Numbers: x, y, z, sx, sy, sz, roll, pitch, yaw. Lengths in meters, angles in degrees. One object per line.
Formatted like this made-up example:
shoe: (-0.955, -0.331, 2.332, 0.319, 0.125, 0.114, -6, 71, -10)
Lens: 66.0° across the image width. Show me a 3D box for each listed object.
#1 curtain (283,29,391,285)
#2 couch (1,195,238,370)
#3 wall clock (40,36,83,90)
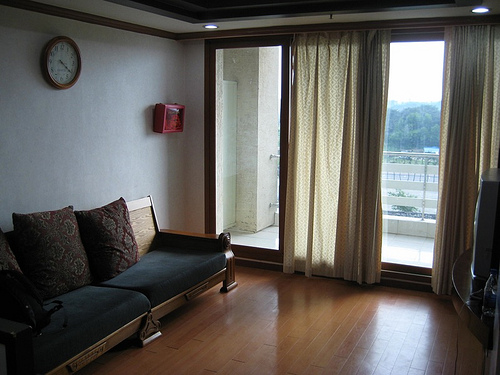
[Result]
curtain: (1.036, -0.412, 4.490, 1.135, 2.938, 0.235, 2, -2, 9)
couch: (-1.172, 0.762, 3.363, 1.033, 1.177, 2.057, 5, 12, 22)
wall clock: (-1.753, -1.175, 3.607, 0.405, 0.476, 0.078, 6, 8, 16)
